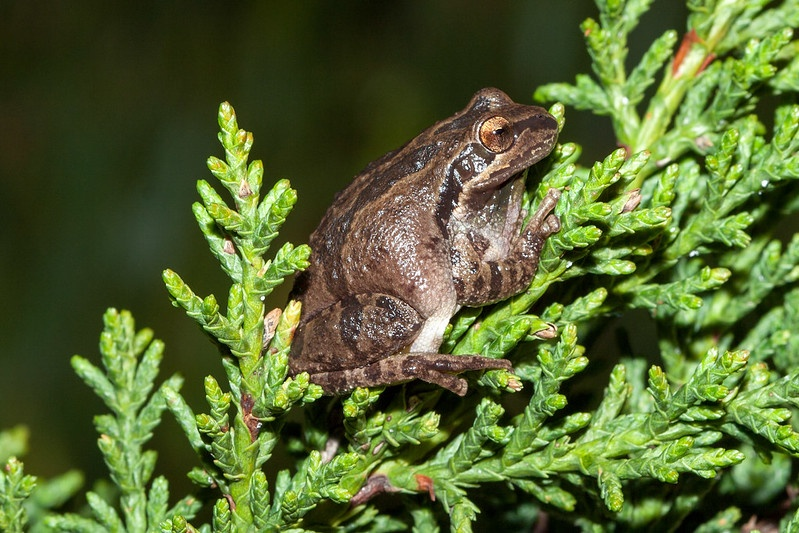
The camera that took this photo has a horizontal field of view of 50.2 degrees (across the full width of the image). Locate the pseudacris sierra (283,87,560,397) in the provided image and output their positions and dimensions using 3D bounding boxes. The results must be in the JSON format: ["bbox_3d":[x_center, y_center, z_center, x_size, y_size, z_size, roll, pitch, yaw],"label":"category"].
[{"bbox_3d":[0.271,-0.024,6.473,2.451,1.719,1.632,-36,-56,-40],"label":"pseudacris sierra"}]
